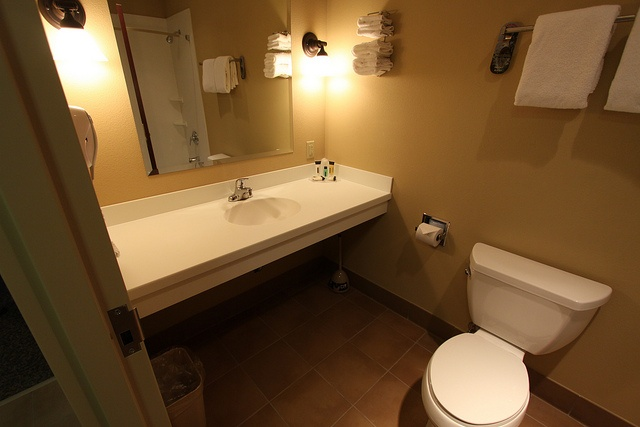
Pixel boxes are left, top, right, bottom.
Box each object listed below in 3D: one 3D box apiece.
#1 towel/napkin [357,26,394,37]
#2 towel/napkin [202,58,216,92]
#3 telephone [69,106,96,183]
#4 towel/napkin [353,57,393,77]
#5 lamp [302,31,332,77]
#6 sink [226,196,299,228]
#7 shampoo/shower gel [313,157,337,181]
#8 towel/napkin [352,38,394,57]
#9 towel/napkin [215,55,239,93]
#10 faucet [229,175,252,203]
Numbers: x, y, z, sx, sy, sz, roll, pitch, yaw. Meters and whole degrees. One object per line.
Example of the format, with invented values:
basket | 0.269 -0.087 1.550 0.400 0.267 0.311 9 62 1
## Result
towel/napkin | 0.322 -1.088 2.558 0.219 0.073 0.106 14 31 28
towel/napkin | -0.654 -0.818 2.491 0.070 0.186 0.119 14 31 17
telephone | -1.008 -0.300 1.863 0.067 0.350 0.172 -16 30 -26
towel/napkin | 0.319 -0.903 2.629 0.238 0.119 0.101 15 31 30
lamp | -0.015 -1.074 2.822 0.163 0.275 0.148 -26 48 -32
sink | -0.386 -0.015 2.734 0.295 0.085 0.218 -18 35 -32
shampoo/shower gel | 0.027 -0.312 3.112 0.185 0.186 0.146 -17 31 -31
towel/napkin | 0.319 -0.975 2.551 0.192 0.113 0.079 -7 -10 4
towel/napkin | -0.593 -0.843 2.625 0.105 0.209 0.178 -19 15 -38
faucet | -0.513 -0.170 2.761 0.172 0.174 0.100 -17 35 -33
